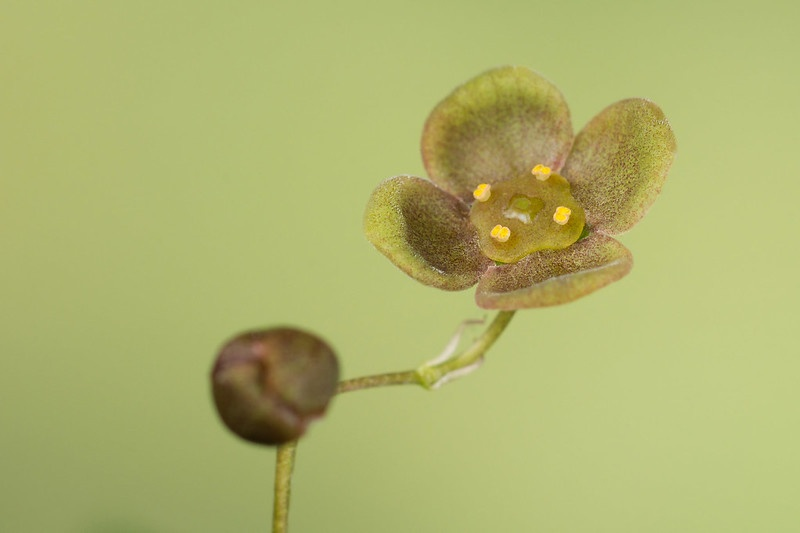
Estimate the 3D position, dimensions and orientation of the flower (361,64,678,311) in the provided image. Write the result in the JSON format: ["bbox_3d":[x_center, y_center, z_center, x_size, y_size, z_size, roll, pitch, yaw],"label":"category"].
[{"bbox_3d":[0.165,-0.060,1.138,0.418,0.118,0.440,5,-43,-15],"label":"flower"}]
